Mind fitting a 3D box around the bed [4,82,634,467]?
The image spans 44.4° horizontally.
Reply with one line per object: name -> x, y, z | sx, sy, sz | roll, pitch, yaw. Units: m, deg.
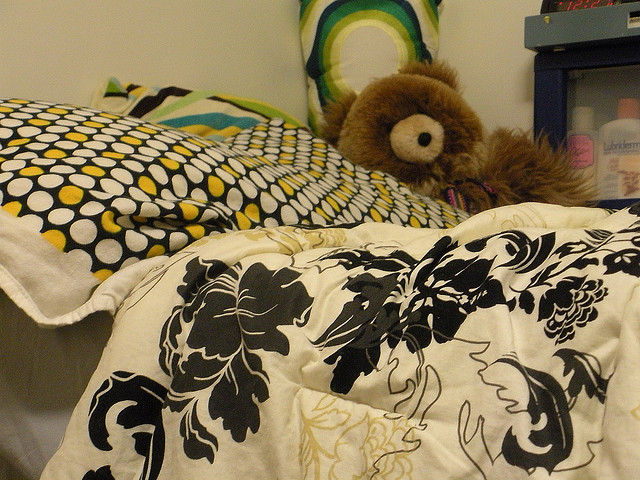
bed -> 0.001, 0.100, 1.211 | 0.774, 0.322, 0.714 | 6, 25, 23

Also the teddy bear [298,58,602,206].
teddy bear -> 0.324, -0.235, 1.918 | 0.590, 0.301, 0.443 | 21, 17, 23
